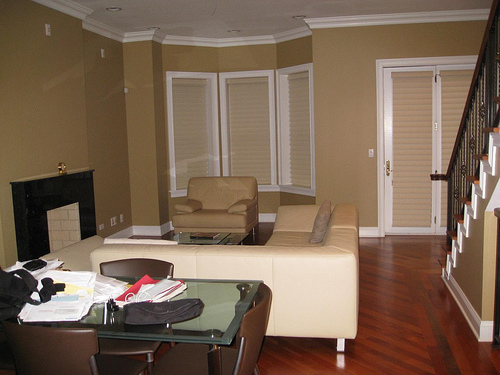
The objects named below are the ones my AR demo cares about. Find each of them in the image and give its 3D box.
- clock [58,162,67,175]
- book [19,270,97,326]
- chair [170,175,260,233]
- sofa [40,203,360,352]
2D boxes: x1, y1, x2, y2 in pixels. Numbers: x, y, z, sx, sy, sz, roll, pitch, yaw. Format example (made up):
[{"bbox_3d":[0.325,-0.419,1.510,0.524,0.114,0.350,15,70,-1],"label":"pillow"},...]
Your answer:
[{"bbox_3d":[-2.583,-0.258,5.508,0.063,0.175,0.172,-1,10,9],"label":"clock"},{"bbox_3d":[-1.163,0.658,2.459,0.277,0.067,0.282,3,15,-2],"label":"book"},{"bbox_3d":[-0.573,0.274,7.059,1.348,0.883,1.287,1,7,18],"label":"chair"},{"bbox_3d":[-0.209,0.807,4.108,2.504,0.968,2.518,0,10,14],"label":"sofa"}]
